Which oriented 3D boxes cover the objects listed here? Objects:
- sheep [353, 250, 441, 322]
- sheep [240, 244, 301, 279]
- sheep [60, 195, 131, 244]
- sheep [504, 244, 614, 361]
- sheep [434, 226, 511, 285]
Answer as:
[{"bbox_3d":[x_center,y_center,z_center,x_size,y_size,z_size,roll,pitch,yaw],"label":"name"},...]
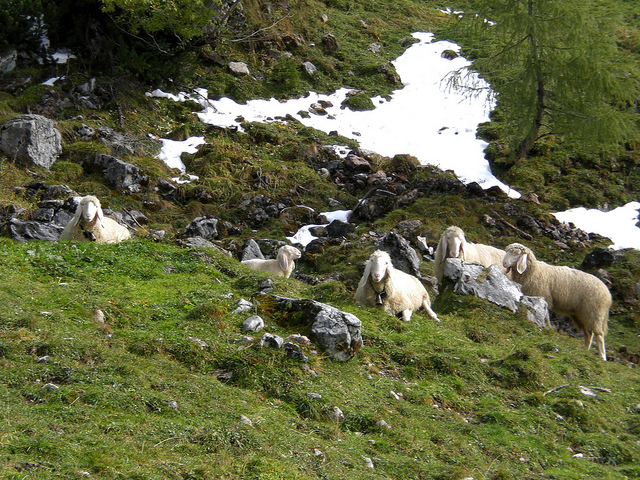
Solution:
[{"bbox_3d":[2.756,1.817,40.937,3.323,2.449,5.277,1,-5,17],"label":"sheep"},{"bbox_3d":[-2.091,1.075,43.351,2.746,1.780,1.101,4,12,16],"label":"sheep"},{"bbox_3d":[-8.381,-0.682,40.483,2.089,1.854,1.704,-3,11,-9],"label":"sheep"},{"bbox_3d":[8.999,2.329,42.215,4.994,3.210,1.376,17,-12,-12],"label":"sheep"},{"bbox_3d":[5.938,0.556,42.702,2.809,2.238,2.168,0,10,21],"label":"sheep"}]
